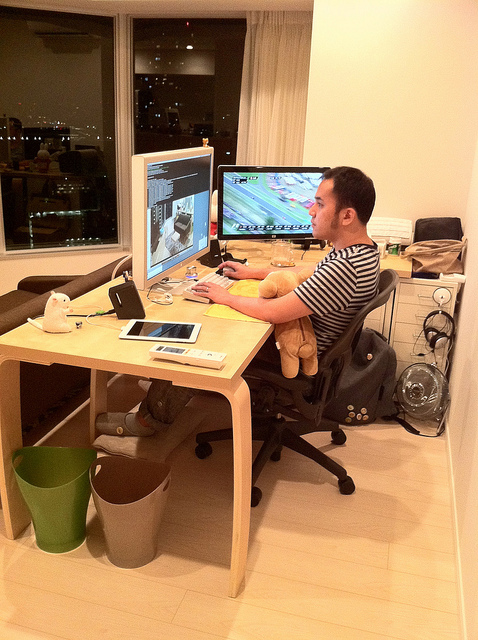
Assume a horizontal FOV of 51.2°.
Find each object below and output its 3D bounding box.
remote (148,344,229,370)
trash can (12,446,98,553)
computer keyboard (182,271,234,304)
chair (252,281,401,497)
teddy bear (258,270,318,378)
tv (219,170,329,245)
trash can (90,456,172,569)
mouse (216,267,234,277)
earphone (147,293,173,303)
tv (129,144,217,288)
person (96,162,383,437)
[{"bbox_3d":[-0.140,0.098,1.233,0.223,0.037,0.064,10,27,11],"label":"remote"},{"bbox_3d":[-0.553,0.569,1.545,0.232,0.254,0.171,-5,13,-18],"label":"trash can"},{"bbox_3d":[-0.109,-0.134,1.878,0.127,0.058,0.312,7,19,15],"label":"computer keyboard"},{"bbox_3d":[0.318,0.297,1.897,0.547,0.706,0.565,7,28,8],"label":"chair"},{"bbox_3d":[0.166,0.015,1.640,0.203,0.356,0.151,-6,12,-31],"label":"teddy bear"},{"bbox_3d":[0.148,-0.540,2.320,0.492,0.291,0.038,-2,22,-12],"label":"tv"},{"bbox_3d":[-0.329,0.583,1.499,0.256,0.286,0.229,5,21,3],"label":"trash can"},{"bbox_3d":[-0.064,-0.200,2.069,0.043,0.021,0.058,-24,21,-36],"label":"mouse"},{"bbox_3d":[-0.282,-0.083,1.774,0.065,0.015,0.045,-2,24,-16],"label":"earphone"},{"bbox_3d":[-0.237,-0.364,1.845,0.073,0.504,0.693,4,22,20],"label":"tv"},{"bbox_3d":[-0.019,-0.059,1.800,0.910,0.969,0.449,8,19,1],"label":"person"}]
